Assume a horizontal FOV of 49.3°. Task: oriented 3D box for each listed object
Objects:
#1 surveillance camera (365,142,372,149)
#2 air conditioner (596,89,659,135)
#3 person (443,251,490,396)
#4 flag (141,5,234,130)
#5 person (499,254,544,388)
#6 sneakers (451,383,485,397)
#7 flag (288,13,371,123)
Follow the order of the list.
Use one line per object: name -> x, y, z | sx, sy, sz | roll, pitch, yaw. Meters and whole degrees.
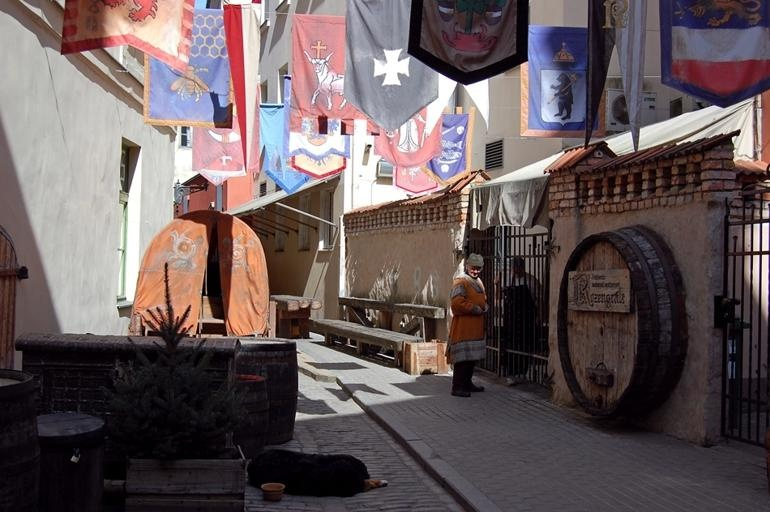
surveillance camera -> -0.458, -3.088, 23.458 | 0.130, 0.185, 0.141 | -3, 0, -12
air conditioner -> 5.325, -3.053, 18.107 | 1.016, 1.016, 0.424 | 5, -12, 8
person -> 1.373, 1.177, 14.101 | 0.595, 2.345, 0.740 | 3, 7, 37
flag -> -3.119, -2.964, 13.245 | 1.702, 2.592, 0.133 | 4, -16, -20
person -> 2.501, 1.104, 15.161 | 0.834, 2.304, 0.813 | 1, 6, 25
sneakers -> 1.429, 2.216, 14.099 | 0.587, 0.293, 0.212 | -5, 4, -20
flag -> -0.871, -3.018, 13.417 | 1.637, 2.546, 0.243 | 1, 1, 1
